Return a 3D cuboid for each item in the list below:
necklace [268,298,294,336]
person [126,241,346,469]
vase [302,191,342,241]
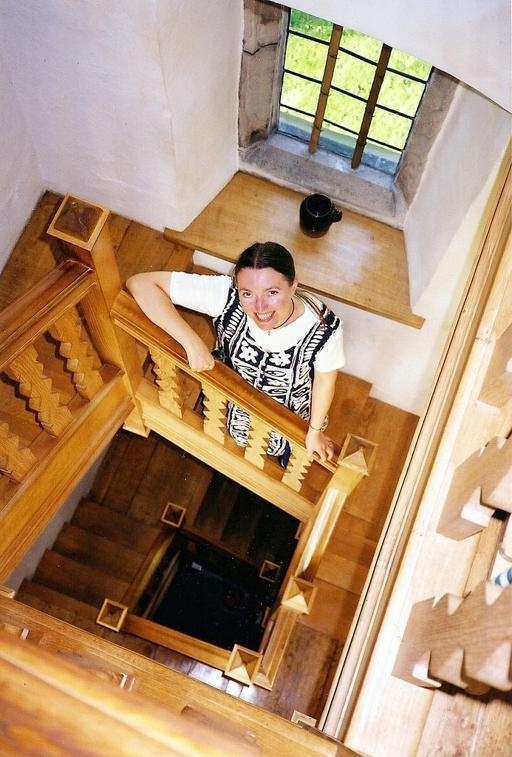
[{"bbox_3d":[0.081,-0.185,1.749,0.070,0.099,0.041,10,-6,39],"label":"necklace"},{"bbox_3d":[0.012,0.046,2.126,0.652,0.422,1.241,14,-30,15],"label":"person"},{"bbox_3d":[0.284,-0.732,2.651,0.195,0.153,0.201,27,-9,10],"label":"vase"}]
